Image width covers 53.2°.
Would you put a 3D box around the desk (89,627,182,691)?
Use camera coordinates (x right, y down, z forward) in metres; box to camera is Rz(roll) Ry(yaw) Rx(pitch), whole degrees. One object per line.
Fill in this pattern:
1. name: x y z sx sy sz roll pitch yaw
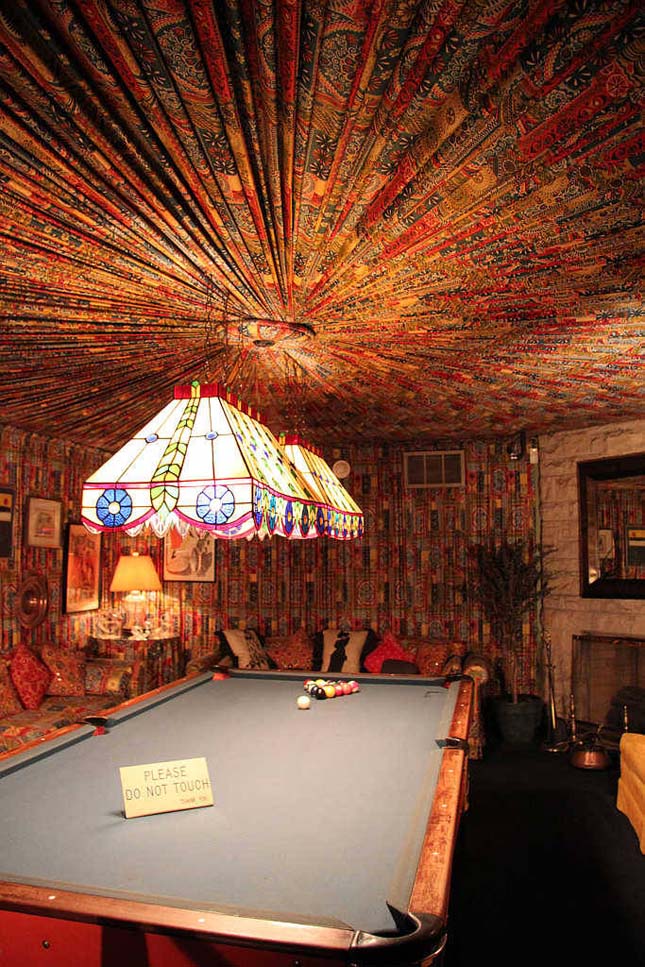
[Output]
1. desk: -1.546 1.441 5.358 0.480 0.361 0.613 -3 -8 13

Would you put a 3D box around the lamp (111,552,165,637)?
1. lamp: -1.700 1.004 5.887 0.450 0.726 0.988 2 -9 -17

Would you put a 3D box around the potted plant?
1. potted plant: 1.537 1.225 5.310 0.737 1.729 0.694 5 -20 -22

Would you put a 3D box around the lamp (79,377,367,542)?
1. lamp: -0.395 -0.163 2.610 0.525 0.400 1.161 -2 -4 15
